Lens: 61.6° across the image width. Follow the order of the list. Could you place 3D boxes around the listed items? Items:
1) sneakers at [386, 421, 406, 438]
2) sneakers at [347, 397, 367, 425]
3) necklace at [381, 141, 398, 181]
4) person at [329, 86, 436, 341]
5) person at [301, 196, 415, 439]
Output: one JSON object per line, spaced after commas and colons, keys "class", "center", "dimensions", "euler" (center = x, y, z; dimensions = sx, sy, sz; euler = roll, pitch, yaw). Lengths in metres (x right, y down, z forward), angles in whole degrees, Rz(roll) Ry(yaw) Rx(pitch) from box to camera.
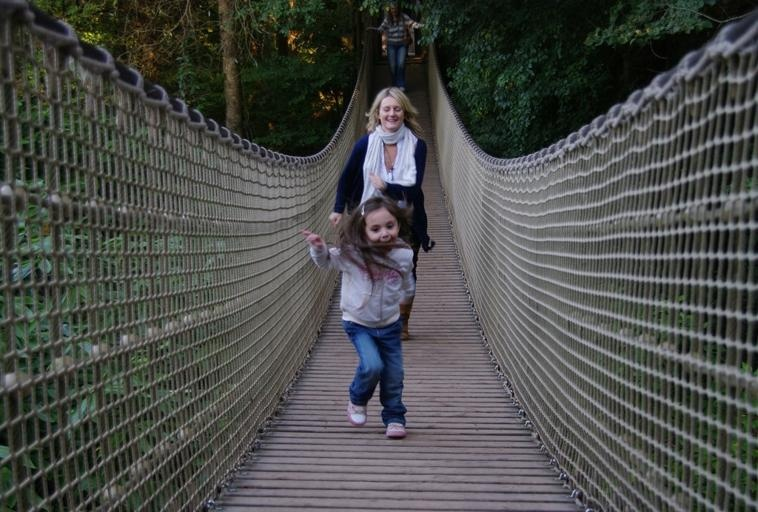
{"class": "sneakers", "center": [0.093, 0.857, 3.114], "dimensions": [0.044, 0.056, 0.121], "euler": [5, -16, -15]}
{"class": "sneakers", "center": [-0.108, 0.805, 3.286], "dimensions": [0.056, 0.068, 0.159], "euler": [6, 4, -7]}
{"class": "necklace", "center": [0.075, -0.621, 4.094], "dimensions": [0.087, 0.194, 0.064], "euler": [-1, 8, -1]}
{"class": "person", "center": [0.019, -0.270, 4.298], "dimensions": [0.681, 1.673, 0.570], "euler": [3, 26, 7]}
{"class": "person", "center": [-0.071, 0.287, 3.279], "dimensions": [0.495, 1.169, 0.470], "euler": [-1, 8, 3]}
